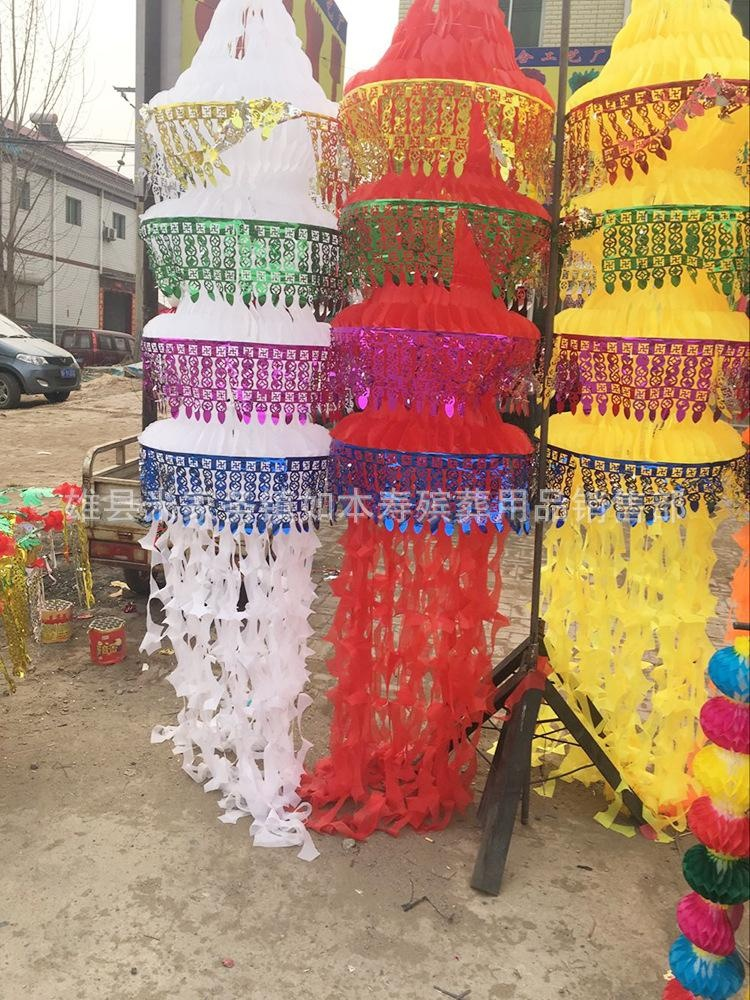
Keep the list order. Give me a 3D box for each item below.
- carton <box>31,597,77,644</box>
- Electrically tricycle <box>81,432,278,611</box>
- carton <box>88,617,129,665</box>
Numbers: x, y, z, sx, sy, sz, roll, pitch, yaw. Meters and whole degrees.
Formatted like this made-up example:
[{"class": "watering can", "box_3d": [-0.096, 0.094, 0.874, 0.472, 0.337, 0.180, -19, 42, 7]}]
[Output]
[{"class": "carton", "box_3d": [-1.392, 0.528, 3.934, 0.171, 0.198, 0.144, 2, 7, -6]}, {"class": "Electrically tricycle", "box_3d": [-1.242, 0.005, 4.580, 0.632, 0.700, 1.088, 6, 15, 16]}, {"class": "carton", "box_3d": [-1.114, 0.586, 3.774, 0.174, 0.167, 0.167, 0, 1, -24]}]
